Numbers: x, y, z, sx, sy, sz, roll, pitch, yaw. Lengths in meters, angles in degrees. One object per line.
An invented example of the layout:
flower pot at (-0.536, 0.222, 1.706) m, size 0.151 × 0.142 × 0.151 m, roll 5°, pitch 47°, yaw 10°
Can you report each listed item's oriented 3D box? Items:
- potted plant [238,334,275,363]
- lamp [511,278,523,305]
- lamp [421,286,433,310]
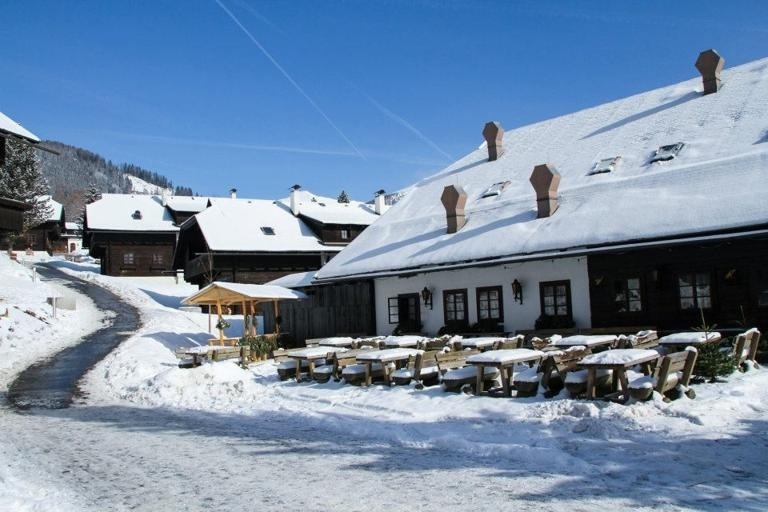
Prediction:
potted plant at (-4.711, 3.566, 27.520) m, size 1.121 × 0.680 × 1.372 m, roll 0°, pitch -2°, yaw -10°
lamp at (4.481, 1.198, 24.180) m, size 0.365 × 0.846 × 0.326 m, roll -1°, pitch 5°, yaw 8°
lamp at (1.606, 1.558, 26.629) m, size 0.344 × 0.800 × 0.307 m, roll 2°, pitch 6°, yaw 38°
